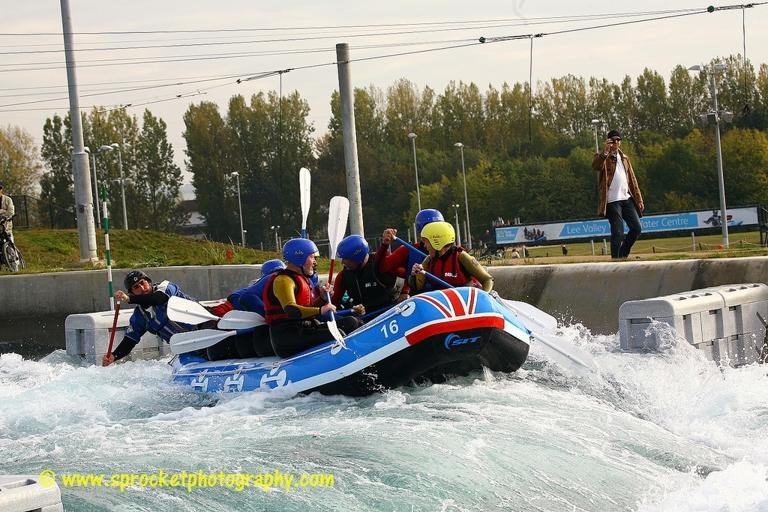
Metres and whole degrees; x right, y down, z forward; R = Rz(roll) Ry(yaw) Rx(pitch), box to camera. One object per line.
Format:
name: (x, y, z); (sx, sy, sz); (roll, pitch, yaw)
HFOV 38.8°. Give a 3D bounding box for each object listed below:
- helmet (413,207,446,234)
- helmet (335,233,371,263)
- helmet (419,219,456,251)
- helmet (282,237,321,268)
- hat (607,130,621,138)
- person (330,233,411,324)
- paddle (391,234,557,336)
helmet: (0.926, -0.743, 22.723); (0.561, 0.531, 0.444); (10, 9, 37)
helmet: (-0.628, -0.200, 22.207); (0.590, 0.538, 0.451); (-20, 15, 3)
helmet: (1.112, -0.440, 21.737); (0.616, 0.521, 0.466); (-16, 8, 17)
helmet: (-1.634, -0.070, 21.189); (0.603, 0.519, 0.462); (-3, 8, -1)
hat: (5.168, -2.719, 24.432); (0.239, 0.193, 0.248); (0, 3, -10)
person: (-0.274, 0.507, 21.983); (1.200, 1.195, 0.826); (-26, -30, 22)
paddle: (1.945, 0.653, 23.232); (4.071, 0.243, 1.060); (34, 9, 0)
